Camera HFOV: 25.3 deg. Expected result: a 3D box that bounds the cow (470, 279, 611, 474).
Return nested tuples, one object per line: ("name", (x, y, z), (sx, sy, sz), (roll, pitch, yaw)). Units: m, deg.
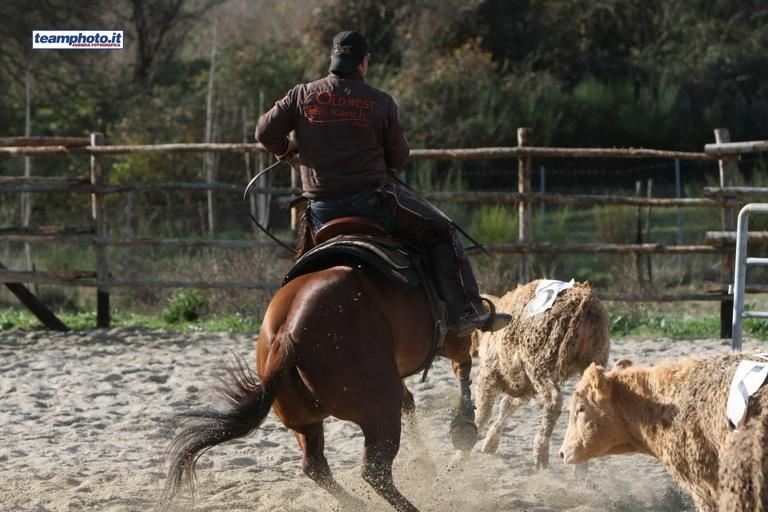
("cow", (2.695, 2.206, 33.014), (1.317, 3.902, 5.216), (-2, -3, -25))
